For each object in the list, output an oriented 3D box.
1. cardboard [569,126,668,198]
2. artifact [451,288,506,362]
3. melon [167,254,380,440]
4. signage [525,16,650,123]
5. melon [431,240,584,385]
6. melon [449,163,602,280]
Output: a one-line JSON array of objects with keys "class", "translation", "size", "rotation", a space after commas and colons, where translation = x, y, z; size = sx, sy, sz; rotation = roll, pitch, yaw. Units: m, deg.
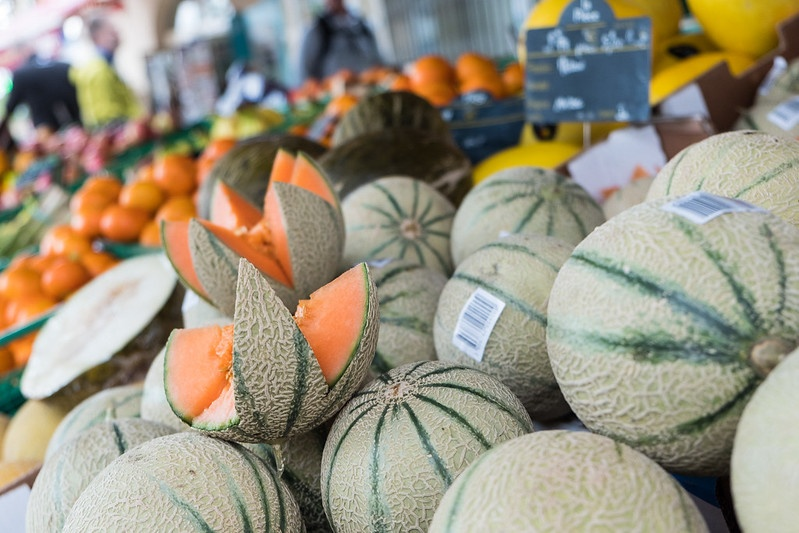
[{"class": "cardboard", "translation": [0.882, -0.422, 2.776], "size": [0.354, 0.216, 0.281], "rotation": [-29, 12, 28]}, {"class": "artifact", "translation": [0.237, 0.176, 2.034], "size": [0.124, 0.177, 0.111], "rotation": [-28, 37, -34]}, {"class": "melon", "translation": [-0.307, 0.273, 1.821], "size": [0.483, 0.368, 0.525], "rotation": [-21, -9, -45]}, {"class": "signage", "translation": [0.690, -0.710, 2.444], "size": [0.372, 0.323, 0.018], "rotation": [1, 19, 17]}, {"class": "melon", "translation": [0.321, 0.109, 2.243], "size": [0.393, 0.519, 0.429], "rotation": [21, 6, 6]}, {"class": "melon", "translation": [0.464, -0.190, 2.468], "size": [0.376, 0.459, 0.388], "rotation": [34, 20, 7]}]
